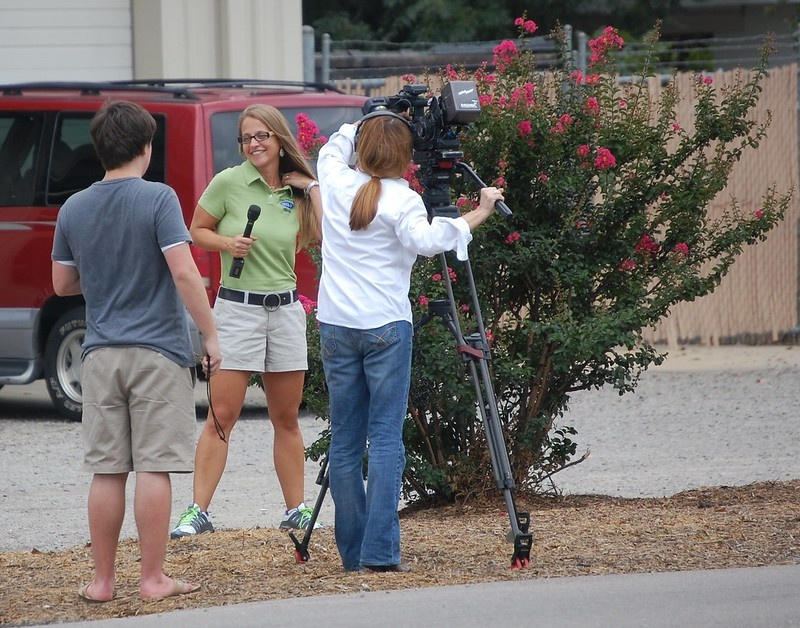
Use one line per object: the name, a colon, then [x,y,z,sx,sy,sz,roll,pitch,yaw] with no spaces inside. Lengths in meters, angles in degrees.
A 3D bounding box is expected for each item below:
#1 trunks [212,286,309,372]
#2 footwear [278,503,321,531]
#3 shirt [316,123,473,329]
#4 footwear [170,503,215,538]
trunks: [-0.946,0.203,12.522,0.778,0.736,0.461,2,-4,-26]
footwear: [-0.688,1.378,12.438,0.288,0.147,0.142,-6,-12,35]
shirt: [-0.054,-0.522,11.404,0.733,1.397,0.454,24,34,20]
footwear: [-1.375,1.402,12.384,0.127,0.180,0.385,-2,-8,15]
